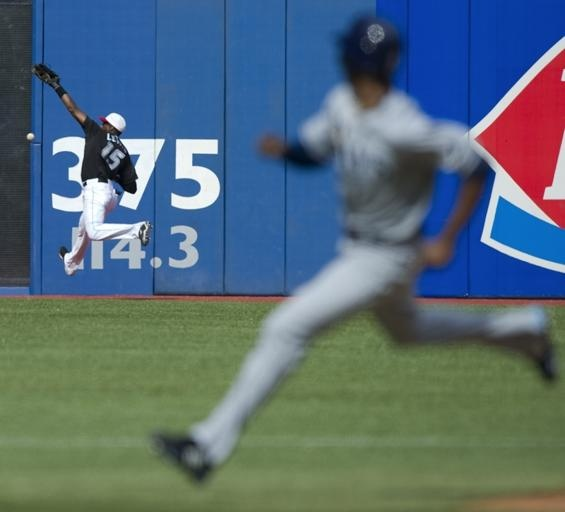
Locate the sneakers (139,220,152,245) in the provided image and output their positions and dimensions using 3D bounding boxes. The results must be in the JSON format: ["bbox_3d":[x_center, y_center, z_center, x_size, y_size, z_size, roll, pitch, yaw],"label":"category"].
[{"bbox_3d":[-1.575,-0.273,15.973,0.103,0.130,0.314,1,75,3],"label":"sneakers"}]

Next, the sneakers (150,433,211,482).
[{"bbox_3d":[-0.764,1.534,10.697,0.446,0.292,0.208,34,72,17],"label":"sneakers"}]

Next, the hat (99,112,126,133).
[{"bbox_3d":[-1.973,-1.616,16.450,0.322,0.236,0.184,33,101,-7],"label":"hat"}]

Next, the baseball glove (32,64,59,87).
[{"bbox_3d":[-2.682,-2.118,15.878,0.348,0.201,0.111,38,31,7],"label":"baseball glove"}]
